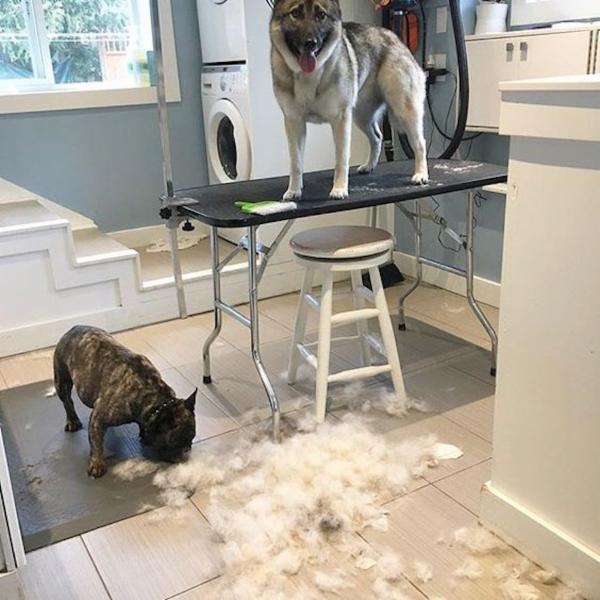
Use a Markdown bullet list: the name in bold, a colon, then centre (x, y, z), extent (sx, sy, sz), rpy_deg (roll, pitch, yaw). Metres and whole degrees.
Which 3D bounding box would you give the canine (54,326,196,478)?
- **canine**: centre (-0.623, 0.351, 1.853), extent (0.700, 0.374, 0.295), rpy_deg (28, 26, 32)

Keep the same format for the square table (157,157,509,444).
- **square table**: centre (0.225, -0.056, 2.185), extent (1.415, 0.854, 0.631), rpy_deg (-14, 22, -30)
